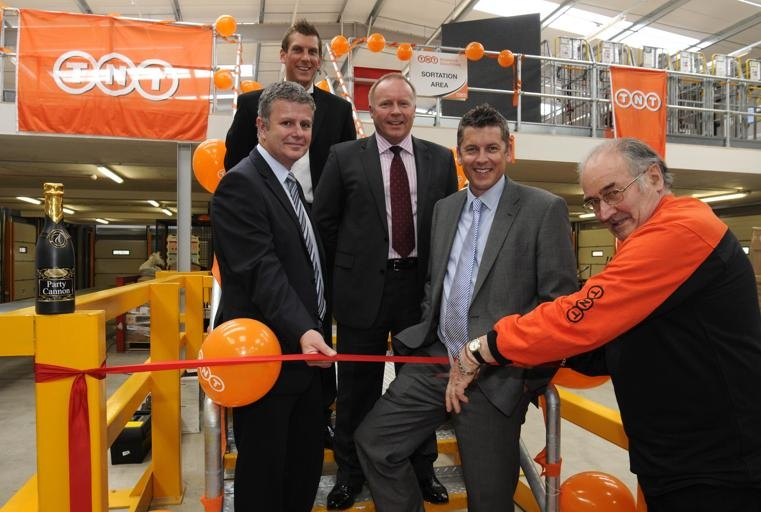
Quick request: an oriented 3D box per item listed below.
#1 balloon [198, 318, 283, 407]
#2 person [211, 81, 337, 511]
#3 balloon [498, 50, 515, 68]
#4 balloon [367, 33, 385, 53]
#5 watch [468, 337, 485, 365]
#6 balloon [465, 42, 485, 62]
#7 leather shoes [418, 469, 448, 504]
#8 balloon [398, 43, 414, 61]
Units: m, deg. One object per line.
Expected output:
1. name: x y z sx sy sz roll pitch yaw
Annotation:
1. balloon: -0.829 0.644 3.392 0.486 0.588 0.473 1 3 3
2. person: -0.617 0.254 3.357 0.677 2.540 0.524 -2 6 -17
3. balloon: 1.774 -2.838 8.235 0.183 0.251 0.307 3 7 27
4. balloon: -0.077 -2.742 7.420 0.202 0.237 0.416 -1 6 -2
5. watch: 0.556 0.558 3.360 0.072 0.112 0.111 -32 48 6
6. balloon: 1.295 -2.806 7.902 0.221 0.295 0.503 1 6 13
7. leather shoes: 0.346 1.547 3.837 0.108 0.116 0.252 1 -9 -24
8. balloon: 0.333 -2.795 7.850 0.186 0.281 0.452 0 6 3
